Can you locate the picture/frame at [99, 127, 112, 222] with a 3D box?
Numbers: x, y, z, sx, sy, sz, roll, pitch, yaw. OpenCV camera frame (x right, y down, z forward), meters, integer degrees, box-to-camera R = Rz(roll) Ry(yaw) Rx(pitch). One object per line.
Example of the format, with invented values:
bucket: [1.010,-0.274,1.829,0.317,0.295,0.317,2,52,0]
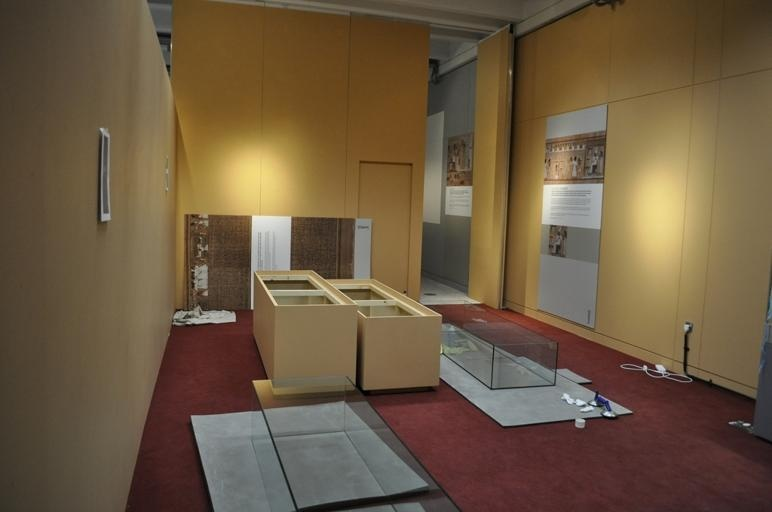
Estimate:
picture/frame: [-1.620,-0.454,2.848,0.050,0.553,0.265,-2,7,-24]
